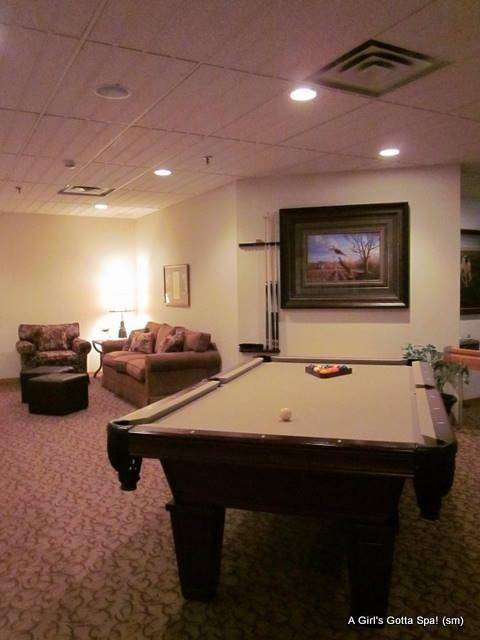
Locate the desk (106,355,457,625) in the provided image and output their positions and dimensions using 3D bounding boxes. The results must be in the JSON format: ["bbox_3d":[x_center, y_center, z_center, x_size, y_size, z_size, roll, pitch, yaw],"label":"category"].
[{"bbox_3d":[0.214,0.361,1.857,0.958,0.509,1.482,1,3,17],"label":"desk"}]

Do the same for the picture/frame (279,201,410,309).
[{"bbox_3d":[1.045,-0.657,4.947,1.280,1.048,0.082,0,3,18],"label":"picture/frame"}]

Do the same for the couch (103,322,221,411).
[{"bbox_3d":[-1.151,0.522,6.291,0.932,0.879,2.012,-2,4,-32],"label":"couch"}]

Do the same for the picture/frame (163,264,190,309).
[{"bbox_3d":[-0.899,-0.501,6.876,0.073,0.457,0.675,-4,7,-25],"label":"picture/frame"}]

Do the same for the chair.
[{"bbox_3d":[-2.724,0.589,7.070,1.111,1.085,0.984,-1,0,-10],"label":"chair"}]
